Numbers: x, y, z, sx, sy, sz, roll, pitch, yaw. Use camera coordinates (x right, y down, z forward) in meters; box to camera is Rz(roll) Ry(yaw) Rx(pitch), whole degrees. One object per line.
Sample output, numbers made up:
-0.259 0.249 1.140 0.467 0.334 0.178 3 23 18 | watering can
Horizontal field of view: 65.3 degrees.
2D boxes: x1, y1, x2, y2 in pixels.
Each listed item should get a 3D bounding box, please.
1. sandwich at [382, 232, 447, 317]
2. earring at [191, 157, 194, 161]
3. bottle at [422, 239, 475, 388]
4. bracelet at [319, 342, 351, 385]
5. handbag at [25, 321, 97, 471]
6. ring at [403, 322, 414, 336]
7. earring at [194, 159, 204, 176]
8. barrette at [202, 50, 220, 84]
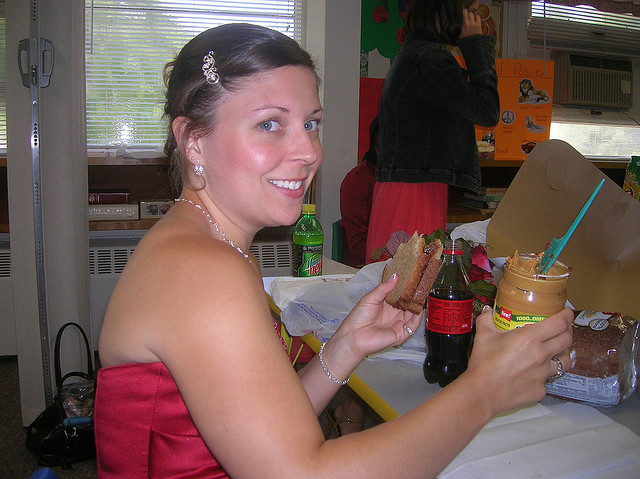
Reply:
0.257 0.092 1.217 0.055 0.199 0.151 26 -1 -15 | sandwich
-0.267 -0.168 1.051 0.005 0.006 0.001 -1 -1 -8 | earring
0.276 0.167 1.110 0.115 0.322 0.118 2 6 0 | bottle
0.035 0.302 1.166 0.070 0.097 0.019 5 -31 -36 | bracelet
-1.148 0.669 2.217 0.280 0.565 0.471 -3 9 -28 | handbag
0.206 0.212 1.163 0.024 0.008 0.018 54 15 23 | ring
-0.254 -0.147 1.048 0.018 0.031 0.008 1 14 16 | earring
-0.217 -0.348 1.014 0.041 0.068 0.017 6 9 34 | barrette
